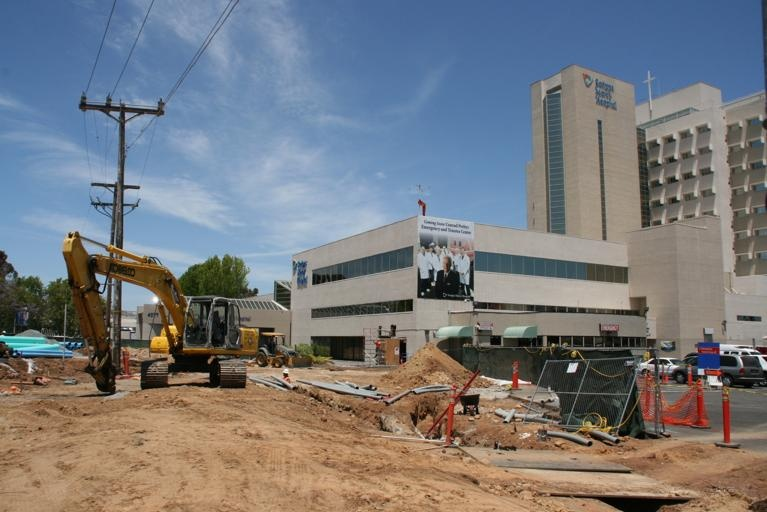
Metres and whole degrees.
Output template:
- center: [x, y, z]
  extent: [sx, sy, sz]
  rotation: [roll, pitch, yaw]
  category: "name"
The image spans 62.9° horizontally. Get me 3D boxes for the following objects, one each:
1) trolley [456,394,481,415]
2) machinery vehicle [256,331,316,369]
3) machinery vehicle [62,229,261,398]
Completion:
- center: [3.402, 5.792, 24.522]
  extent: [0.757, 0.831, 2.133]
  rotation: [-1, -11, 8]
  category: "trolley"
- center: [-7.589, 7.020, 46.955]
  extent: [4.100, 2.606, 2.369]
  rotation: [1, -3, 34]
  category: "machinery vehicle"
- center: [-8.757, 2.495, 25.239]
  extent: [3.201, 5.264, 8.328]
  rotation: [-6, -10, 36]
  category: "machinery vehicle"
